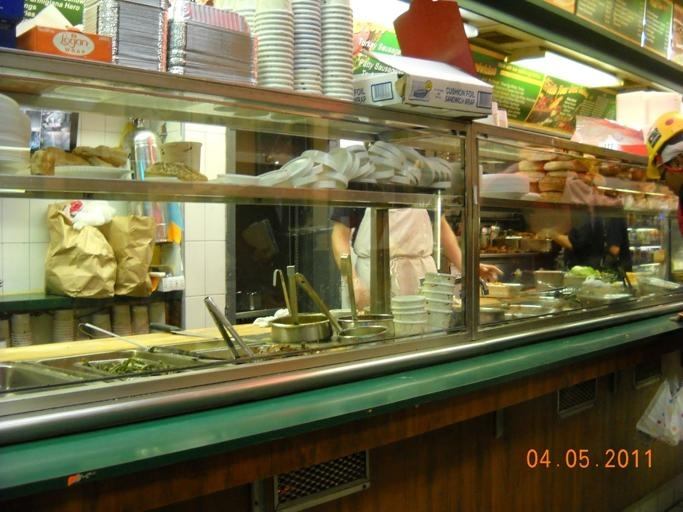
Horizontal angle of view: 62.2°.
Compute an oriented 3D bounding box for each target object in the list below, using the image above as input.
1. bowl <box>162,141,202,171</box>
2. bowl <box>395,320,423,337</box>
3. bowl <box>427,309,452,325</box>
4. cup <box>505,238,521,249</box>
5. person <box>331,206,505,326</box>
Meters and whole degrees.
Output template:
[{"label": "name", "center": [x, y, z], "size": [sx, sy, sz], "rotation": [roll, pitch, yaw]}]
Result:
[{"label": "bowl", "center": [-0.552, -0.353, 1.979], "size": [0.138, 0.114, 0.126], "rotation": [0, 2, 0]}, {"label": "bowl", "center": [0.277, 0.284, 2.293], "size": [0.087, 0.046, 0.075], "rotation": [0, -3, -3]}, {"label": "bowl", "center": [0.416, 0.247, 2.392], "size": [0.081, 0.065, 0.074], "rotation": [2, 2, 14]}, {"label": "cup", "center": [0.807, -0.066, 2.662], "size": [0.074, 0.057, 0.075], "rotation": [0, 4, 0]}, {"label": "person", "center": [0.339, 0.042, 2.416], "size": [0.670, 0.794, 0.301], "rotation": [-1, -5, -22]}]
